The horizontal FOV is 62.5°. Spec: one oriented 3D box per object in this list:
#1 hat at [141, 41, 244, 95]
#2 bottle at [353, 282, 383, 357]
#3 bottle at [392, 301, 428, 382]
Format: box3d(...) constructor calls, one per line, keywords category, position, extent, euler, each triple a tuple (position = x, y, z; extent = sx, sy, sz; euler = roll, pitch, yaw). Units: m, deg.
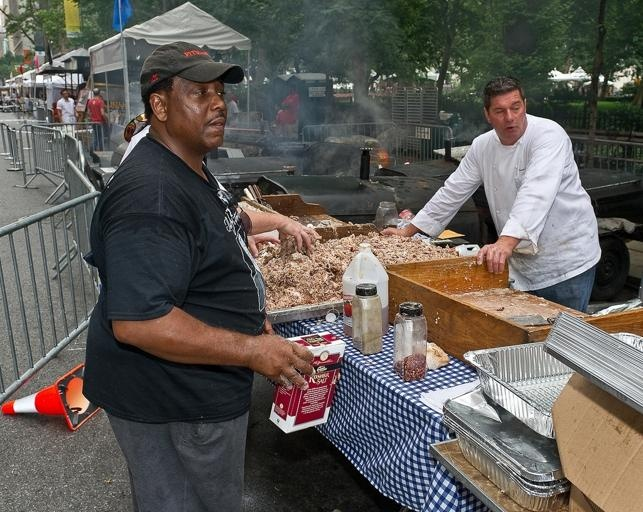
box3d(category="hat", position=(-0.531, -0.732, 2.066), extent=(0.333, 0.210, 0.218), euler=(4, 17, 14))
box3d(category="bottle", position=(0.213, 0.339, 2.884), extent=(0.173, 0.366, 0.168), euler=(5, 14, -1))
box3d(category="bottle", position=(0.440, 0.413, 2.579), extent=(0.167, 0.363, 0.165), euler=(0, 16, 0))
